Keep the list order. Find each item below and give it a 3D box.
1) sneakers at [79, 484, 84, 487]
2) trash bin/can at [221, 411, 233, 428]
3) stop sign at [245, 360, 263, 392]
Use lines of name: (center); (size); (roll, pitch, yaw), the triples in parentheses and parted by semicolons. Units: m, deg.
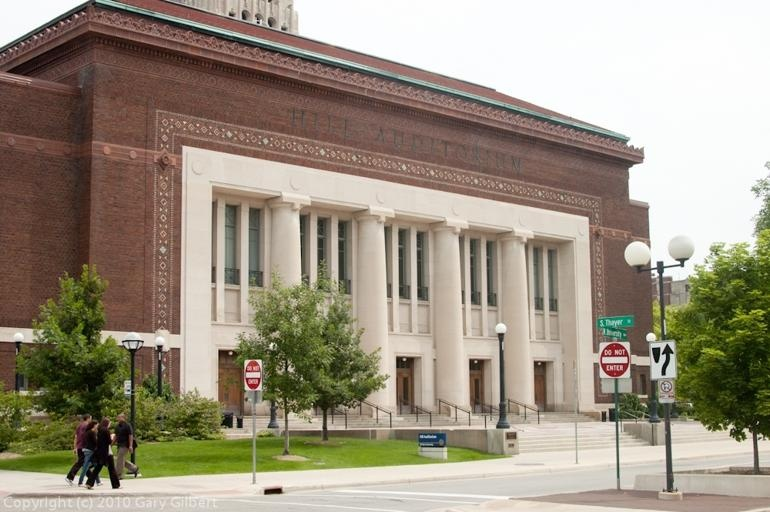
sneakers: (-12.420, 9.308, 52.174); (0.143, 0.054, 0.183); (-1, -5, 45)
trash bin/can: (-8.670, 8.826, 69.073); (0.725, 0.738, 0.710); (-5, -9, 26)
stop sign: (-5.584, 5.036, 54.260); (0.672, 1.291, 0.713); (2, -13, -13)
